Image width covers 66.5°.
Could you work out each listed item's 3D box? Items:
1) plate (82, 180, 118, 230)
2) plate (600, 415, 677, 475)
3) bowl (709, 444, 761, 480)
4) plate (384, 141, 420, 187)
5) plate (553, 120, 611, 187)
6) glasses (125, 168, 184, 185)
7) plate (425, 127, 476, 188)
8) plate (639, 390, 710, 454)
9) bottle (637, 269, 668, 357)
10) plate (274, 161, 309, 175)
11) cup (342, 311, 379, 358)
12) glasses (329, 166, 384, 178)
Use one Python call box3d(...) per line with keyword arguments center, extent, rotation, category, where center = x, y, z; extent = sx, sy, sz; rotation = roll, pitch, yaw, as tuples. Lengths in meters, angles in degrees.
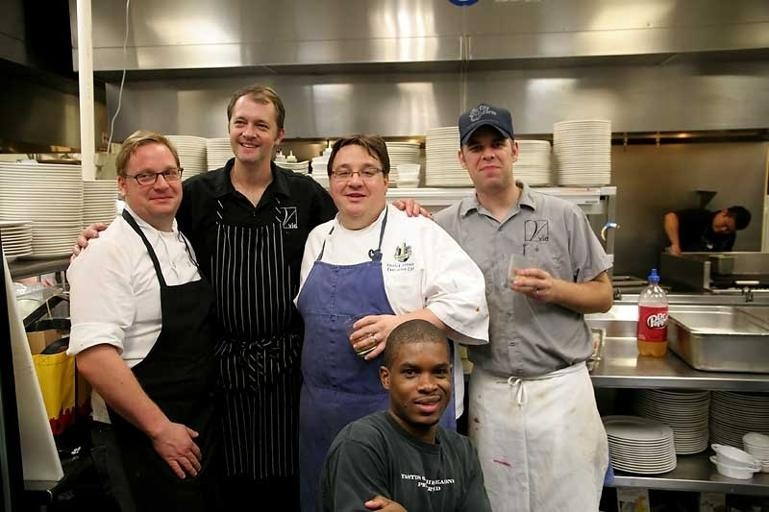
box3d(center=(-1.450, -0.282, 2.993), extent=(0.221, 0.224, 0.215), rotation=(-1, 6, -14), category="plate")
box3d(center=(1.432, 1.073, 3.335), extent=(0.305, 0.131, 0.327), rotation=(-1, 0, -3), category="plate")
box3d(center=(1.920, 1.138, 3.205), extent=(0.231, 0.107, 0.155), rotation=(4, 9, 33), category="bowl")
box3d(center=(0.158, -0.666, 4.225), extent=(0.337, 0.285, 0.344), rotation=(0, 2, 10), category="plate")
box3d(center=(1.344, -0.680, 4.062), extent=(0.472, 0.474, 0.446), rotation=(-2, 4, -21), category="plate")
box3d(center=(-1.051, -0.365, 2.682), extent=(0.231, 0.077, 0.094), rotation=(-5, 9, -26), category="glasses")
box3d(center=(0.443, -0.674, 4.075), extent=(0.388, 0.381, 0.396), rotation=(1, 2, 17), category="plate")
box3d(center=(1.765, 0.964, 3.568), extent=(0.380, 0.355, 0.362), rotation=(0, 1, 27), category="plate")
box3d(center=(1.603, 0.345, 3.489), extent=(0.157, 0.505, 0.132), rotation=(0, 9, 11), category="bottle")
box3d(center=(-0.616, -0.599, 3.918), extent=(0.238, 0.077, 0.228), rotation=(0, 4, -10), category="plate")
box3d(center=(-0.110, 0.361, 2.586), extent=(0.142, 0.199, 0.118), rotation=(-2, 8, -1), category="cup")
box3d(center=(-0.116, -0.376, 2.646), extent=(0.226, 0.045, 0.052), rotation=(-2, 8, -9), category="glasses")
